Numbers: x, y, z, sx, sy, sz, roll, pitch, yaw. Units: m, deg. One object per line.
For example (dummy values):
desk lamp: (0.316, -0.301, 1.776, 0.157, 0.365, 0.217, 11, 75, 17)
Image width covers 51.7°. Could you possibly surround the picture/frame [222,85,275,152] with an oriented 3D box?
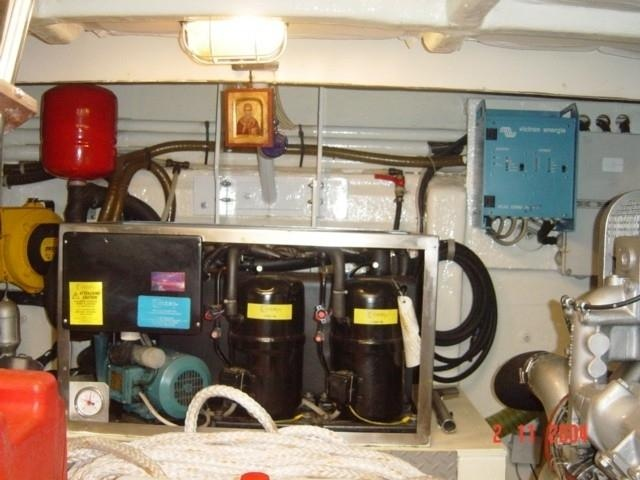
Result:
picture/frame: (-0.409, -0.717, 3.854, 0.421, 0.481, 0.069, 1, 9, 1)
